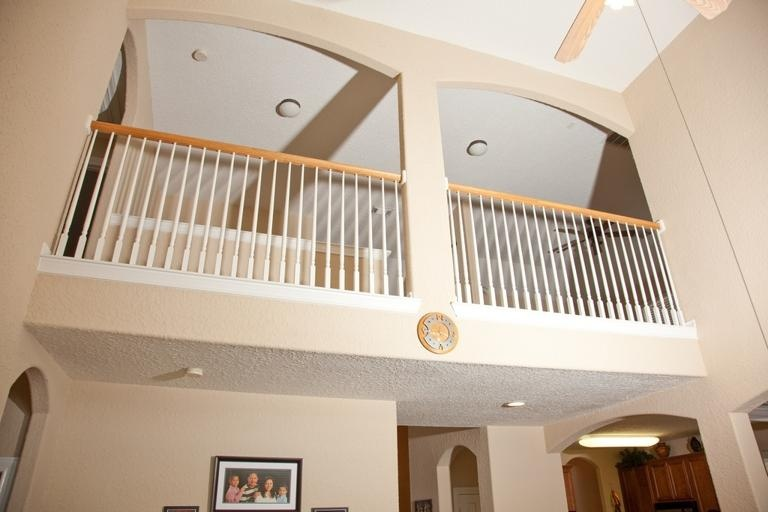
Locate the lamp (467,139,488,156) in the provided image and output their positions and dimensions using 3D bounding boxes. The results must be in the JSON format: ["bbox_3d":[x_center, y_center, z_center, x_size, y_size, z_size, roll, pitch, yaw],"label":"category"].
[{"bbox_3d":[1.613,-1.844,8.423,0.366,0.103,0.352,-3,-32,5],"label":"lamp"}]

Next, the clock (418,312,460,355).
[{"bbox_3d":[0.595,0.804,5.148,0.415,0.432,0.035,2,8,33],"label":"clock"}]

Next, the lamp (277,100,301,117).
[{"bbox_3d":[-1.485,-2.289,7.602,0.249,0.079,0.260,-5,-33,14],"label":"lamp"}]
